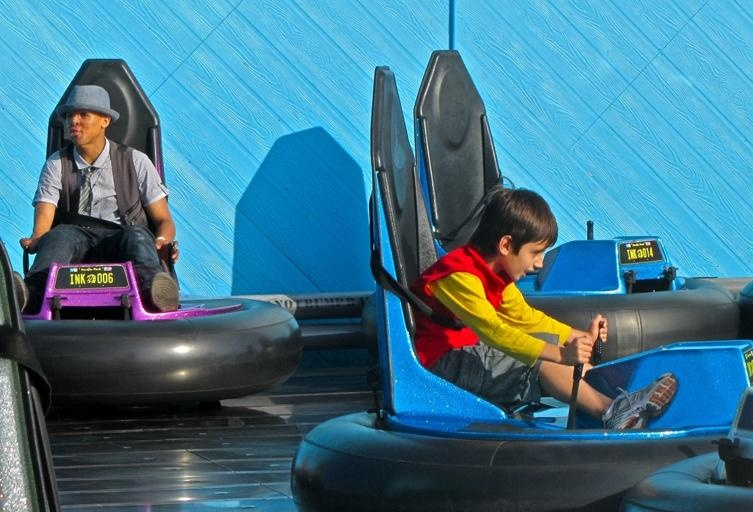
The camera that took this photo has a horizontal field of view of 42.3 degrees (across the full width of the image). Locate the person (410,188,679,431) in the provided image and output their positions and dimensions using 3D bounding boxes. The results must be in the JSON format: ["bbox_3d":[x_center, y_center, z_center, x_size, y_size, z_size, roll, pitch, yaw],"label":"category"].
[{"bbox_3d":[0.451,0.127,2.681,0.681,0.636,0.376,-4,8,35],"label":"person"}]

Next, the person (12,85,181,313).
[{"bbox_3d":[-1.091,-0.250,3.777,0.573,0.862,0.877,-3,3,-11],"label":"person"}]

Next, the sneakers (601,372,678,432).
[{"bbox_3d":[0.683,0.373,2.505,0.147,0.050,0.068,-41,-47,17],"label":"sneakers"}]

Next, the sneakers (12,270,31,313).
[{"bbox_3d":[-1.071,0.107,2.941,0.048,0.151,0.056,-13,10,-29],"label":"sneakers"}]

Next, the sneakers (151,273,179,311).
[{"bbox_3d":[-0.804,0.127,3.714,0.088,0.152,0.098,-3,0,-35],"label":"sneakers"}]

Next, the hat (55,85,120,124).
[{"bbox_3d":[-1.144,-0.627,3.948,0.269,0.114,0.212,7,-1,-27],"label":"hat"}]
